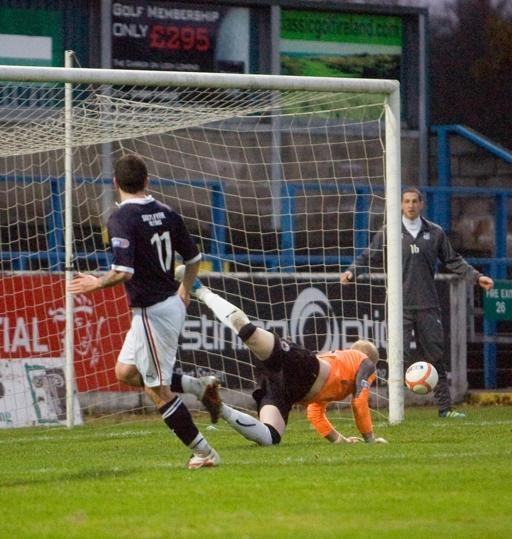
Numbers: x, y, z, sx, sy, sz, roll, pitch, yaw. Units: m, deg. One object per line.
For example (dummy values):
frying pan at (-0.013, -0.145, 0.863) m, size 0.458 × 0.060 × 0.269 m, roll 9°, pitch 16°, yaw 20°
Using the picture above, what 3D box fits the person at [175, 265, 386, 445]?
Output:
person at (0.195, 0.679, 8.015) m, size 1.864 × 1.002 × 0.562 m, roll 12°, pitch -20°, yaw -37°

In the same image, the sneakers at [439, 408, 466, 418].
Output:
sneakers at (1.595, 1.186, 9.708) m, size 0.227 × 0.078 × 0.072 m, roll -1°, pitch -6°, yaw 8°

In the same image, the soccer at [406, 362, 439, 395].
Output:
soccer at (1.234, 0.834, 9.203) m, size 0.269 × 0.235 × 0.253 m, roll -4°, pitch 9°, yaw -25°

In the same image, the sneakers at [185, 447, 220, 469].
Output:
sneakers at (-0.316, 1.161, 7.194) m, size 0.238 × 0.099 × 0.081 m, roll -9°, pitch -10°, yaw -6°

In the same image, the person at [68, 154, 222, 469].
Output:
person at (-0.633, 0.248, 7.269) m, size 0.788 × 1.930 × 0.508 m, roll -3°, pitch 0°, yaw -22°

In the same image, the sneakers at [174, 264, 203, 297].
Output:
sneakers at (-0.472, 0.060, 7.887) m, size 0.162 × 0.204 × 0.084 m, roll 20°, pitch 21°, yaw 15°
